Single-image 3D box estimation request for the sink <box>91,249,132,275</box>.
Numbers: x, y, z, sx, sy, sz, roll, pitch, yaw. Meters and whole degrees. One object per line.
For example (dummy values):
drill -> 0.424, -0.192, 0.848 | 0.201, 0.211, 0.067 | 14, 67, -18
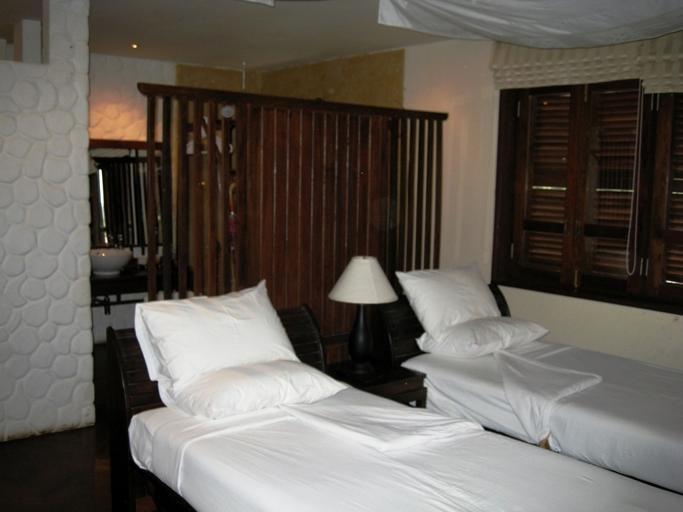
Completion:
sink -> -2.168, 0.043, 4.826 | 0.345, 0.190, 0.400 | -4, 14, -27
